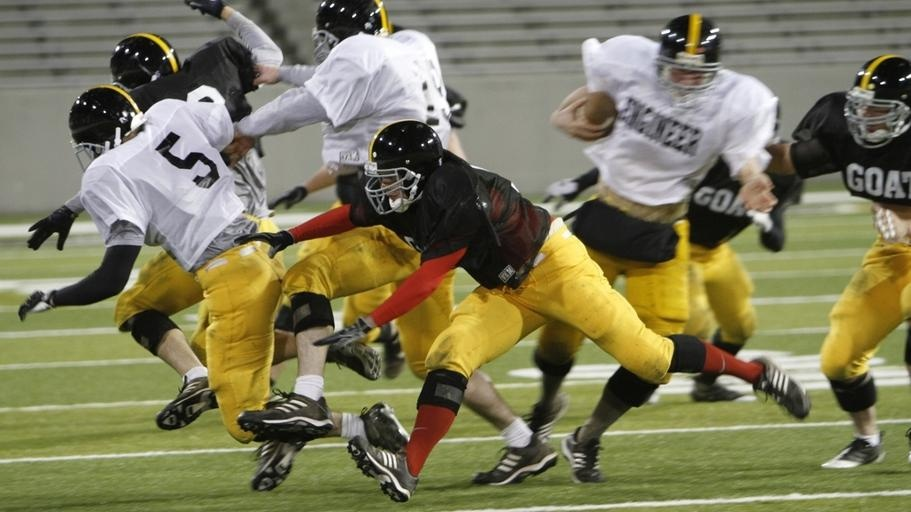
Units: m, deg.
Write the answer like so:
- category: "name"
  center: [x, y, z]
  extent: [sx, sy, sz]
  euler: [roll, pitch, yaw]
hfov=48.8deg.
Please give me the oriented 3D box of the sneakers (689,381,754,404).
- category: "sneakers"
  center: [2.030, 1.022, 7.761]
  extent: [0.477, 0.265, 0.142]
  euler: [-3, 13, 6]

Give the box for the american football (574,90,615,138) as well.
- category: "american football"
  center: [0.960, -0.947, 6.767]
  extent: [0.223, 0.301, 0.093]
  euler: [2, 17, 14]

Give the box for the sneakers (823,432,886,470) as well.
- category: "sneakers"
  center: [2.549, 1.258, 6.543]
  extent: [0.539, 0.182, 0.178]
  euler: [-3, -4, -28]

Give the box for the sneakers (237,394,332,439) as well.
- category: "sneakers"
  center: [-1.053, 0.962, 6.237]
  extent: [0.622, 0.262, 0.185]
  euler: [7, -24, -33]

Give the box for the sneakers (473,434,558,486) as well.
- category: "sneakers"
  center: [0.393, 1.315, 6.497]
  extent: [0.551, 0.241, 0.182]
  euler: [-28, -15, 18]

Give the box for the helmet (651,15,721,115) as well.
- category: "helmet"
  center: [1.497, -1.253, 6.492]
  extent: [0.405, 0.586, 0.313]
  euler: [1, 16, 9]

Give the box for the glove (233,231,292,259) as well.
- category: "glove"
  center: [-1.246, -0.080, 6.527]
  extent: [0.317, 0.099, 0.156]
  euler: [-7, 16, -19]

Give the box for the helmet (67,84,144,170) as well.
- category: "helmet"
  center: [-2.264, -0.871, 6.545]
  extent: [0.463, 0.463, 0.382]
  euler: [-7, 16, -19]

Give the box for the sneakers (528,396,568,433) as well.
- category: "sneakers"
  center: [0.629, 1.084, 6.882]
  extent: [0.102, 0.325, 0.134]
  euler: [45, 2, 42]

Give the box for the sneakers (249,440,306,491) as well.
- category: "sneakers"
  center: [-1.146, 1.348, 6.467]
  extent: [0.396, 0.124, 0.157]
  euler: [-34, -30, -4]

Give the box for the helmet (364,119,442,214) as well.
- category: "helmet"
  center: [-0.269, -0.575, 6.383]
  extent: [0.686, 0.490, 0.491]
  euler: [-12, 3, -13]
